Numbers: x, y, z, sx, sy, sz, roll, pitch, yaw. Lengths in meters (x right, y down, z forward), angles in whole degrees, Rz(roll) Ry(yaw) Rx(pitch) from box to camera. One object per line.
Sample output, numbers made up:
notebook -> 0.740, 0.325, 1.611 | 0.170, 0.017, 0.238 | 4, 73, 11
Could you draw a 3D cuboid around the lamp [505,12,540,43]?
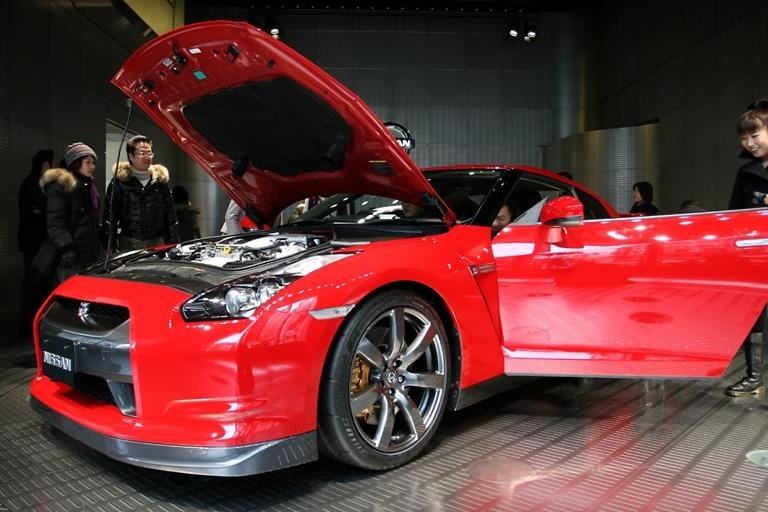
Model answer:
lamp -> 2.818, -4.651, 10.162 | 0.640, 0.286, 0.698 | 9, -24, 6
